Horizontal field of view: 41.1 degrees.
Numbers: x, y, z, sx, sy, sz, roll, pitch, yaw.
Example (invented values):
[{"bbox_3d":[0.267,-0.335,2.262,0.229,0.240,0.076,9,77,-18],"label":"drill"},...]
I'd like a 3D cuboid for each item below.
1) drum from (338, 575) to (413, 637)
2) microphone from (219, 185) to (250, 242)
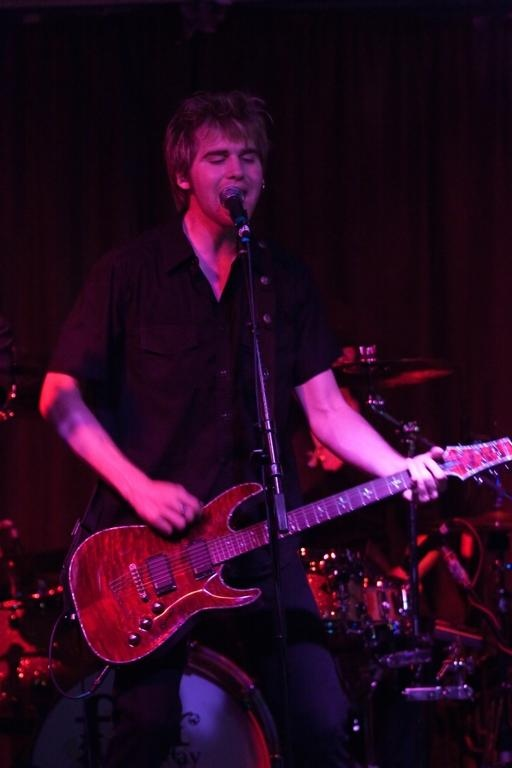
[{"bbox_3d":[0.539,1.013,3.103,0.283,0.227,0.076,4,-26,-24],"label":"drum"},{"bbox_3d":[-0.054,-0.430,1.711,0.048,0.057,0.202,-23,34,7],"label":"microphone"}]
